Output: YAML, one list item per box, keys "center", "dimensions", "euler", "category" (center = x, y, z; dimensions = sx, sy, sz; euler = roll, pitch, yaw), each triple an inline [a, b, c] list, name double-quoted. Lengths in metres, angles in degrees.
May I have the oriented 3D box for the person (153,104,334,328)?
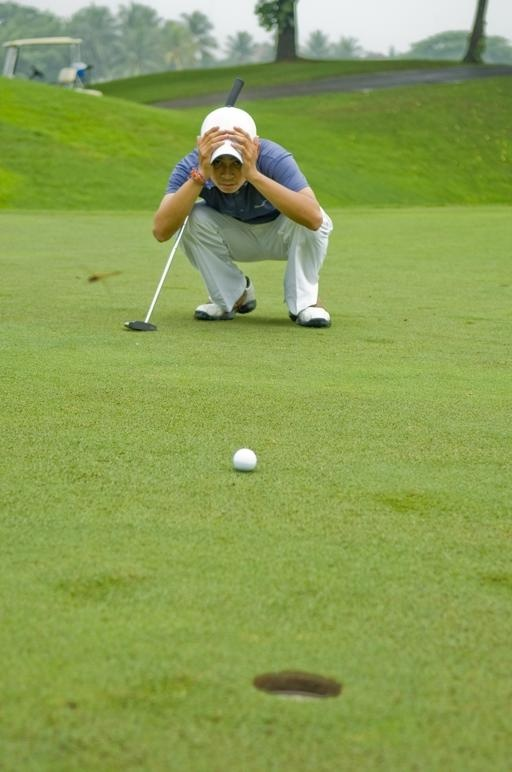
- center: [-0.033, -0.665, 3.213]
  dimensions: [0.692, 0.801, 0.686]
  euler: [-5, 11, -22]
  category: "person"

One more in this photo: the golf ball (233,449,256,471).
- center: [-0.027, 0.175, 1.880]
  dimensions: [0.050, 0.054, 0.050]
  euler: [3, 8, 0]
  category: "golf ball"

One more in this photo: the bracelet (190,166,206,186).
- center: [-0.216, -0.750, 2.902]
  dimensions: [0.032, 0.045, 0.056]
  euler: [-14, 20, -12]
  category: "bracelet"

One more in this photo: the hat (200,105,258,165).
- center: [-0.100, -0.884, 2.802]
  dimensions: [0.160, 0.132, 0.247]
  euler: [0, 33, 2]
  category: "hat"
